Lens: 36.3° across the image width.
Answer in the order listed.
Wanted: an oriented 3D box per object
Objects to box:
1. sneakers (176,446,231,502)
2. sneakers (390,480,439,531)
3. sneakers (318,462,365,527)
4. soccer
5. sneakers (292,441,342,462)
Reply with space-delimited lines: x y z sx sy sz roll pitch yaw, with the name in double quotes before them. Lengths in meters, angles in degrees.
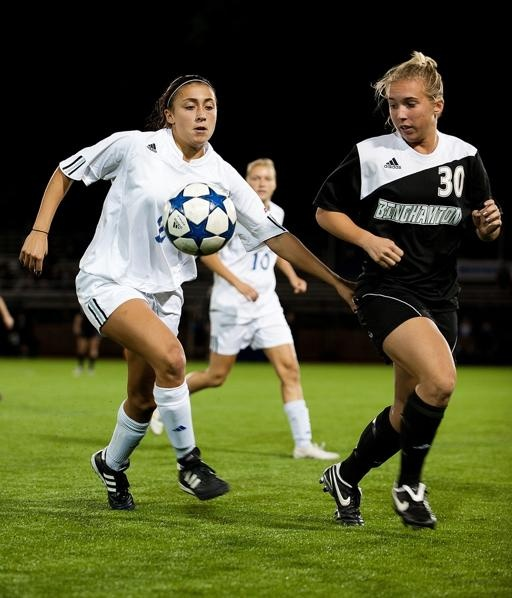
"sneakers" -0.327 0.809 3.579 0.147 0.208 0.386 -7 4 -45
"sneakers" 0.675 0.884 3.345 0.118 0.135 0.293 6 0 -25
"sneakers" 0.409 0.927 3.689 0.167 0.312 0.120 -33 -8 30
"soccer" -0.250 -0.370 3.603 0.369 0.330 0.216 -3 7 -15
"sneakers" 0.420 1.125 5.766 0.414 0.124 0.121 0 -2 0
